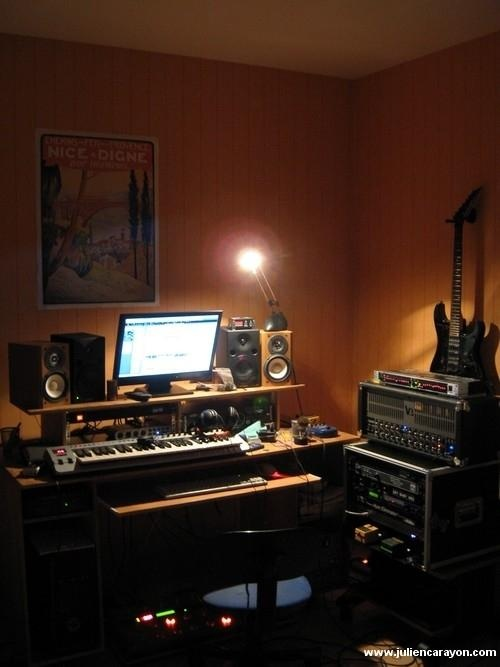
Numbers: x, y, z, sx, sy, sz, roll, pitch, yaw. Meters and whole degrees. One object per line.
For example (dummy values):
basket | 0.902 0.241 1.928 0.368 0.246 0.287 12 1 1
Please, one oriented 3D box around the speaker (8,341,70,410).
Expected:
speaker | -0.924 0.173 2.429 0.356 0.277 0.162 2 1 26

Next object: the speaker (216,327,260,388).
speaker | -0.030 0.149 3.016 0.183 0.306 0.183 0 -20 -4

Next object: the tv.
tv | -0.389 0.085 2.763 0.521 0.400 0.151 -2 14 -37
